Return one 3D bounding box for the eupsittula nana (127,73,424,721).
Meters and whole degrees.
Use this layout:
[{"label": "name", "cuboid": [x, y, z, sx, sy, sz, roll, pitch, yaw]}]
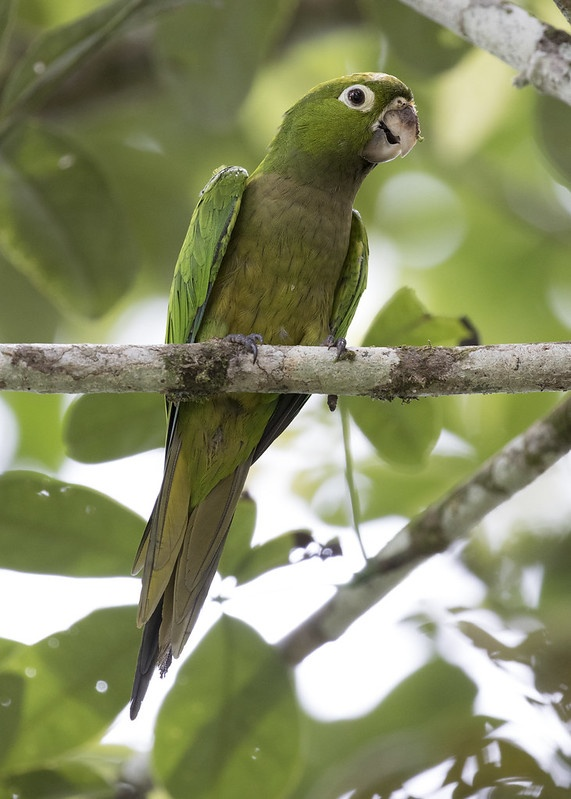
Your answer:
[{"label": "eupsittula nana", "cuboid": [-0.035, -0.073, 3.430, 0.648, 2.123, 0.825, 17, -23, -24]}]
